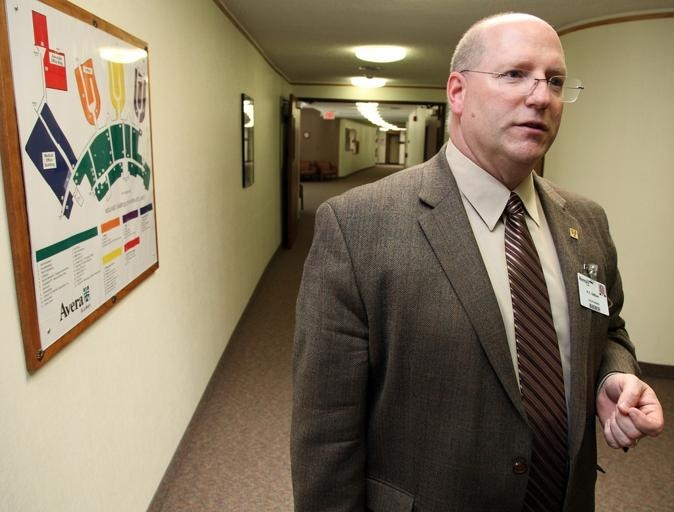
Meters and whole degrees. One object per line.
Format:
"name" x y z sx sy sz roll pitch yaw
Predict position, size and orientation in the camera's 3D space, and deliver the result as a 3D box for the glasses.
"glasses" 0.578 -0.491 1.444 0.460 0.083 0.207 -10 19 -36
